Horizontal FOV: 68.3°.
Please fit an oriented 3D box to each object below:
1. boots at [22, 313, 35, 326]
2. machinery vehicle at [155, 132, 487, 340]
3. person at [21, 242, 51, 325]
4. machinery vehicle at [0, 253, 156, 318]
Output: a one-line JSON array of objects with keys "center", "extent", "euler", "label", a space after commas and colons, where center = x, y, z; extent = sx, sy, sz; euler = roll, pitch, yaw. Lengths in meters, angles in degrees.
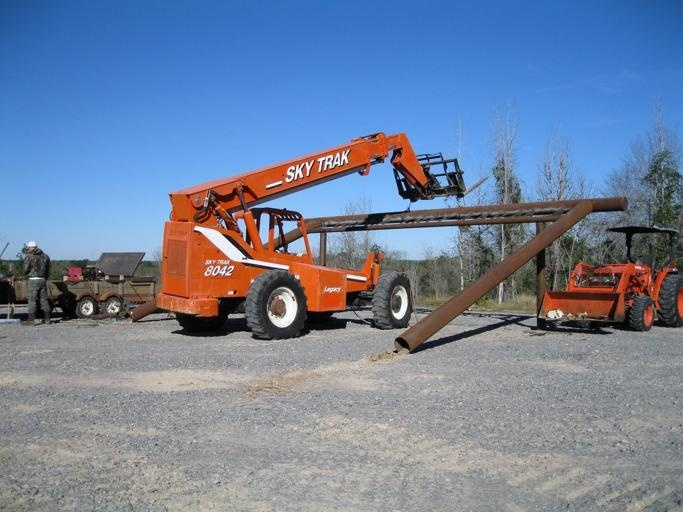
[{"center": [-8.109, 1.646, 13.110], "extent": [0.287, 0.239, 0.775], "euler": [0, 2, -32], "label": "boots"}, {"center": [-0.087, -0.676, 12.764], "extent": [8.061, 4.943, 3.095], "euler": [-1, 2, -37], "label": "machinery vehicle"}, {"center": [-7.953, 0.717, 13.221], "extent": [0.599, 2.096, 0.727], "euler": [0, 2, -34], "label": "person"}, {"center": [-7.655, 0.984, 14.874], "extent": [2.863, 1.460, 1.880], "euler": [4, -7, -41], "label": "machinery vehicle"}]
